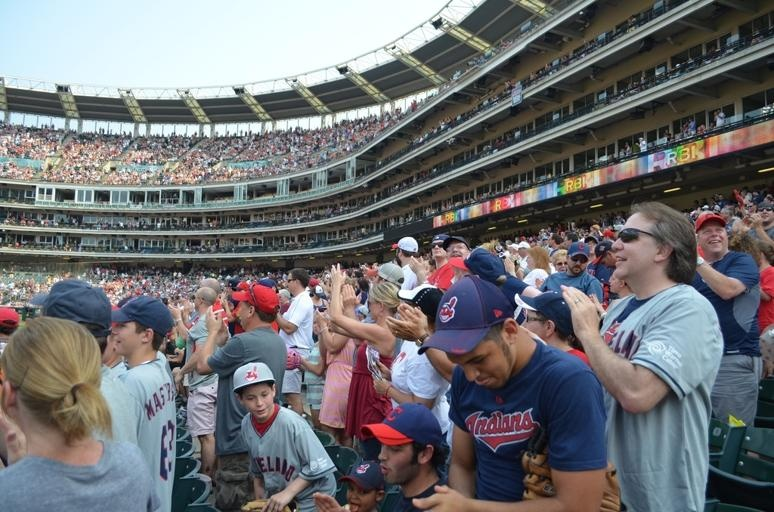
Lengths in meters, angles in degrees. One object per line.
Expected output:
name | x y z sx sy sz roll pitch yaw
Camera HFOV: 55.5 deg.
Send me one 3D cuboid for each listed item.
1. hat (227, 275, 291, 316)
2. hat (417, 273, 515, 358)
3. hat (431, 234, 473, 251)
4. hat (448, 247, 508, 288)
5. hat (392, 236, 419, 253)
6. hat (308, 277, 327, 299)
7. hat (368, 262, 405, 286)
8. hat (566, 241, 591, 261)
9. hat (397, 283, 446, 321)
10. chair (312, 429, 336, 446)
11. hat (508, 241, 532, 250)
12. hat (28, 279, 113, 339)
hat | -2.293 0.712 12.695 0.896 0.506 0.602 26 19 16
hat | 1.078 0.816 9.917 1.295 0.677 0.842 -29 12 -34
hat | 1.202 -0.271 13.957 0.384 0.366 0.885 -5 -8 -17
hat | 1.507 0.237 11.871 0.811 0.413 0.576 18 5 14
hat | 0.439 -0.199 15.212 0.413 0.399 0.786 -7 -7 -1
hat | -1.612 0.778 16.735 0.189 0.489 0.322 -33 -8 35
hat | -0.064 0.356 13.146 0.458 0.347 0.652 6 16 -43
hat | 3.543 -0.091 13.635 0.350 0.378 0.513 -10 -8 19
hat | 0.524 0.645 11.415 0.656 0.372 0.457 35 20 11
chair | -1.039 3.085 12.444 0.307 0.249 0.584 -6 -7 -8
hat | 3.497 -0.327 19.204 0.531 0.166 0.336 4 -5 1
hat | -4.452 0.746 10.602 1.025 0.555 0.678 25 10 14
